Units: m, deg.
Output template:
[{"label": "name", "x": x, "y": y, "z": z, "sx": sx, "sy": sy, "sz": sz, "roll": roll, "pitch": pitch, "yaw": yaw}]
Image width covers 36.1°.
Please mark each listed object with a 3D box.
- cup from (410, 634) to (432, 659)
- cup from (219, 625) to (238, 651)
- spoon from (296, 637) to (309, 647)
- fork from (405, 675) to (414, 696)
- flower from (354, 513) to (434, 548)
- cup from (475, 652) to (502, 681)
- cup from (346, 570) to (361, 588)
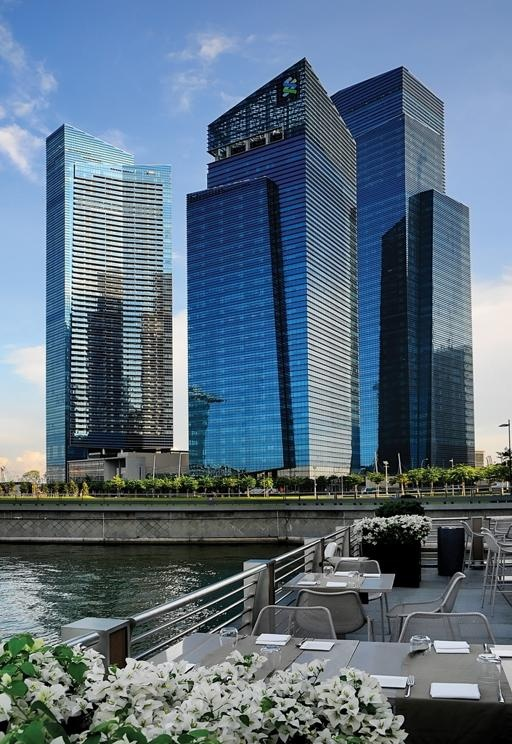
[{"label": "cup", "x": 0.772, "y": 1.286, "z": 3.684, "sx": 0.115, "sy": 0.085, "sz": 0.083, "roll": -4, "pitch": 6, "yaw": -18}, {"label": "cup", "x": -0.108, "y": 1.235, "z": 3.629, "sx": 0.106, "sy": 0.086, "sz": 0.097, "roll": 0, "pitch": -4, "yaw": 0}, {"label": "spoon", "x": 0.254, "y": 1.463, "z": 4.230, "sx": 0.048, "sy": 0.022, "sz": 0.056, "roll": -4, "pitch": 1, "yaw": 8}, {"label": "fork", "x": 0.619, "y": 1.255, "z": 3.133, "sx": 0.023, "sy": 0.017, "sz": 0.123, "roll": -5, "pitch": 8, "yaw": 17}, {"label": "flower", "x": 1.851, "y": 2.117, "z": 10.461, "sx": 0.704, "sy": 0.255, "sz": 0.524, "roll": -2, "pitch": -5, "yaw": -2}, {"label": "cup", "x": 0.960, "y": 1.196, "z": 3.209, "sx": 0.097, "sy": 0.082, "sz": 0.096, "roll": -2, "pitch": 3, "yaw": 0}, {"label": "cup", "x": 0.880, "y": 1.828, "z": 6.863, "sx": 0.129, "sy": 0.190, "sz": 0.114, "roll": 1, "pitch": -6, "yaw": -13}]
